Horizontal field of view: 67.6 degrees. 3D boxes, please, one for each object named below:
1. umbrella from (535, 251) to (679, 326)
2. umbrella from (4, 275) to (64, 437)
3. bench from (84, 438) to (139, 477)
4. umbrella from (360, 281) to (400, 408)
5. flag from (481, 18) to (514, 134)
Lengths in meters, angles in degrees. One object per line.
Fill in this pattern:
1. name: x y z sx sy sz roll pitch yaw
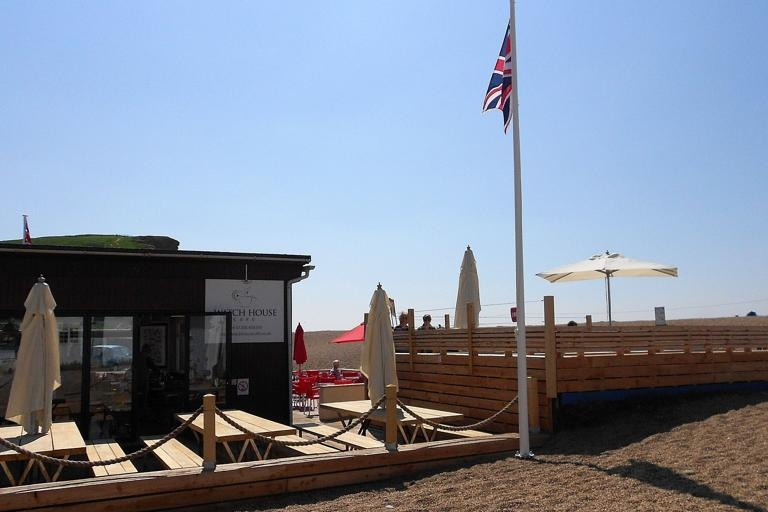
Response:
1. umbrella: 4.980 0.559 12.942 1.806 1.248 1.699 -2 -10 13
2. umbrella: -6.045 1.707 9.898 0.734 2.704 0.427 3 -8 -30
3. bench: -4.624 3.411 9.546 0.624 0.299 2.557 3 -8 -30
4. umbrella: -0.130 1.752 11.420 0.764 2.417 0.610 -3 -7 16
5. flag: 2.265 -3.590 10.894 0.510 2.189 0.180 12 -14 -3
